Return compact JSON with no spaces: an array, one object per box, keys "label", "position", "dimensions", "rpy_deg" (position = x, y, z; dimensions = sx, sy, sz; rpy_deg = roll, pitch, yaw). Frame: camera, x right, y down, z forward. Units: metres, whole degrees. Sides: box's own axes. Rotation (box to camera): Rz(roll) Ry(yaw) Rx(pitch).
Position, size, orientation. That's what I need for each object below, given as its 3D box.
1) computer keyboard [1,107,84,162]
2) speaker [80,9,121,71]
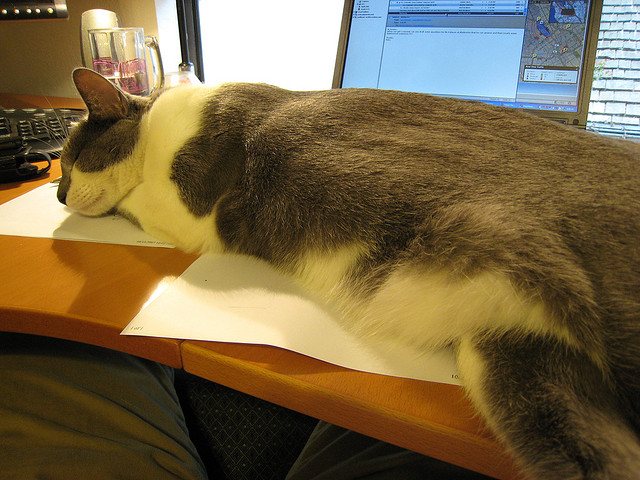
[{"label":"computer keyboard","position":[-0.723,-0.269,1.173],"dimensions":[0.180,0.042,0.246],"rpy_deg":[-2,43,-8]},{"label":"speaker","position":[-0.729,-0.658,1.487],"dimensions":[0.129,0.180,0.185],"rpy_deg":[7,22,1]}]
